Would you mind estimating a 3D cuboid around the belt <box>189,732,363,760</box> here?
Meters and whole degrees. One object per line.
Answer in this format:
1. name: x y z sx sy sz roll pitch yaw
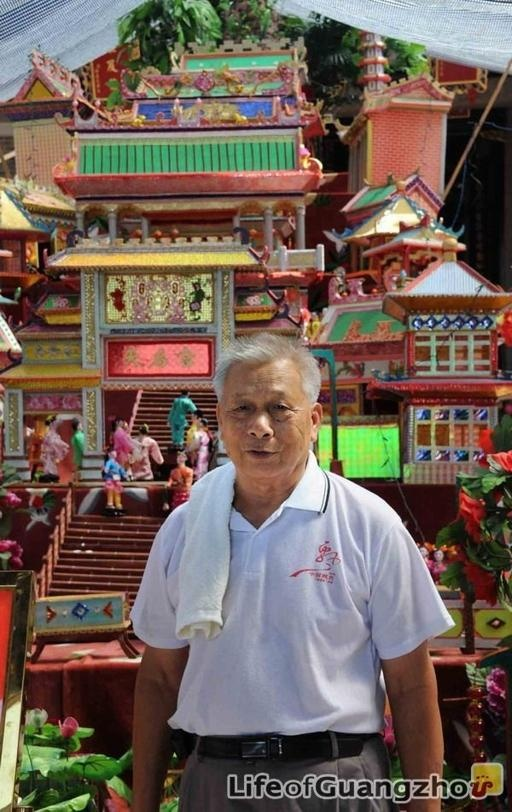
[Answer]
1. belt: 0.068 0.924 2.355 0.468 0.098 0.111 -1 5 2
